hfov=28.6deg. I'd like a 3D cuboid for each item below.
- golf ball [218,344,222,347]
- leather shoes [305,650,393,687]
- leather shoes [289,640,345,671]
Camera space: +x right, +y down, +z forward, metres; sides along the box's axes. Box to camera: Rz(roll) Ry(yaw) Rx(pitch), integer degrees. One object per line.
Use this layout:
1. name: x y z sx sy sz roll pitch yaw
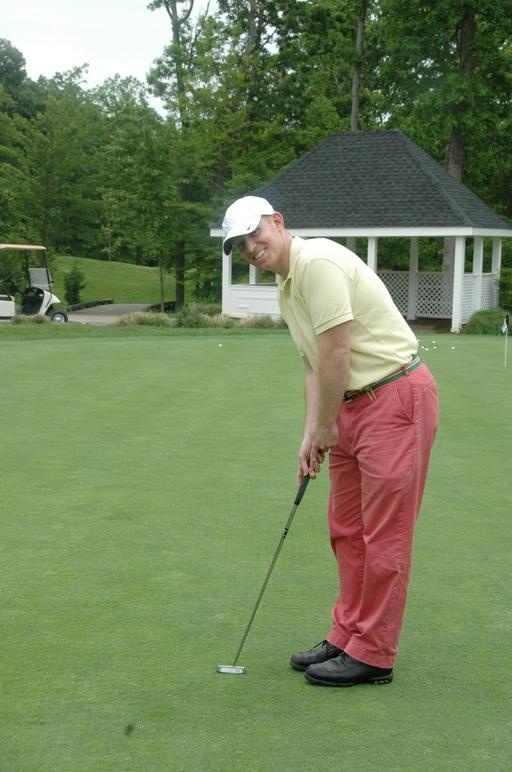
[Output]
1. golf ball: -0.601 -0.668 16.714 0.071 0.025 0.066 -1 -3 0
2. leather shoes: 0.302 0.965 3.442 0.314 0.124 0.104 5 -12 -4
3. leather shoes: 0.199 0.930 3.463 0.205 0.081 0.074 2 -6 -33
